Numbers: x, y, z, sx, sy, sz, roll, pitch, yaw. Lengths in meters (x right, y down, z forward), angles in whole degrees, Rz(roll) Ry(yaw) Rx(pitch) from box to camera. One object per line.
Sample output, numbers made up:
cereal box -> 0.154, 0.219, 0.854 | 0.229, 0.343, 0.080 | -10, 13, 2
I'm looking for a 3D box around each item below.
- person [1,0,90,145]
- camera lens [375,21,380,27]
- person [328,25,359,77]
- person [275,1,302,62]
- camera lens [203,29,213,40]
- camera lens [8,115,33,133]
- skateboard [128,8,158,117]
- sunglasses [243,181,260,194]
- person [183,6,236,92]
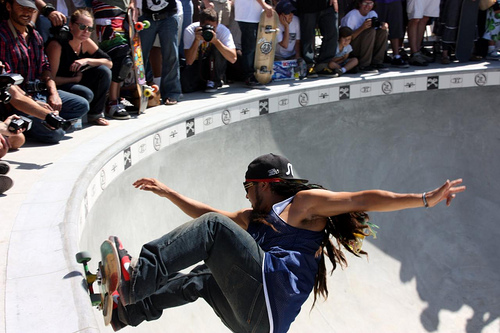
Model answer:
person -> -2.594, -1.139, 5.692 | 0.668, 1.739, 1.178 | -5, 8, 5
camera lens -> 2.575, -2.885, 9.323 | 0.091, 0.097, 0.022 | 6, -9, -3
person -> 1.857, -2.337, 9.332 | 0.634, 0.932, 0.696 | -16, 32, -18
person -> 0.735, -2.704, 9.142 | 0.519, 1.088, 0.464 | -6, 8, 2
camera lens -> -0.691, -2.182, 7.690 | 0.150, 0.154, 0.142 | 37, 22, -3
camera lens -> -2.509, -0.504, 5.069 | 0.169, 0.126, 0.176 | 20, 24, 8
skateboard -> -1.677, -1.559, 6.992 | 0.212, 1.552, 0.383 | -4, 8, 24
sunglasses -> 0.022, 0.196, 4.421 | 0.116, 0.066, 0.087 | 10, 1, -26
person -> -0.688, -2.000, 8.156 | 0.869, 1.360, 1.023 | -10, 8, -24
